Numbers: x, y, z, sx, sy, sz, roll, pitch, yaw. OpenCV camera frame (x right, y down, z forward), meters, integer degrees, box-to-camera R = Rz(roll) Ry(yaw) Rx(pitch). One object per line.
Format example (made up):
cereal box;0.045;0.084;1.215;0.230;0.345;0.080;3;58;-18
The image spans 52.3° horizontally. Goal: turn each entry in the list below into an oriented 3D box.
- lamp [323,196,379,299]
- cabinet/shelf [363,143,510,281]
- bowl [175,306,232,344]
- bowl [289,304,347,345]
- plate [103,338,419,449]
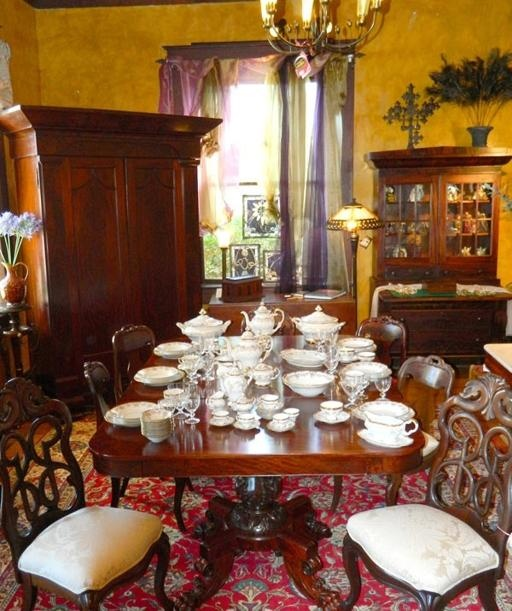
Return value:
lamp;0.923;-0.484;4.910;0.477;0.976;0.867;-1;11;9
cabinet/shelf;1.716;-0.905;4.919;1.410;1.477;0.453;0;8;2
bowl;-0.284;0.113;2.701;0.255;0.173;0.195;-1;10;-6
bowl;0.354;0.103;2.906;0.301;0.206;0.223;3;13;17
plate;0.026;0.340;1.980;1.115;0.226;0.778;-1;10;6
